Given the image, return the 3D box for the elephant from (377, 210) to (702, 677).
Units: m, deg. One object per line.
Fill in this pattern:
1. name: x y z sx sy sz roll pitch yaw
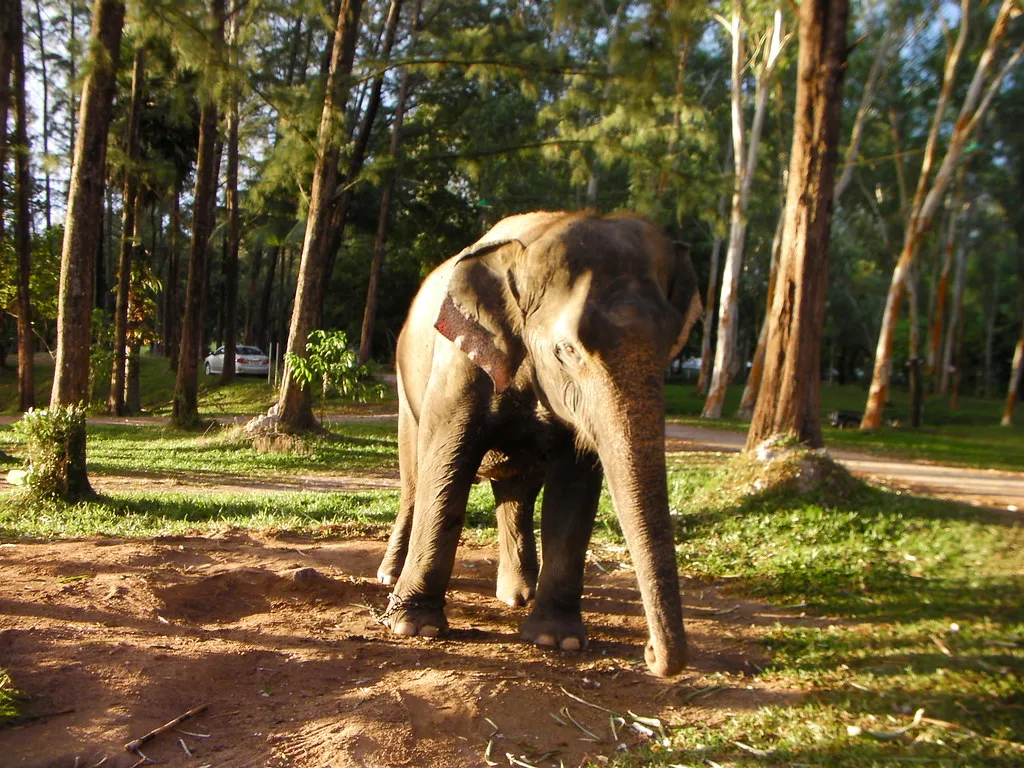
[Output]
1. elephant: 0.059 0.421 8.540 2.009 3.723 4.819 0 2 -23

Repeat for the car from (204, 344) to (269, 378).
1. car: -9.642 -0.776 33.706 1.070 0.868 2.230 -1 5 -39
